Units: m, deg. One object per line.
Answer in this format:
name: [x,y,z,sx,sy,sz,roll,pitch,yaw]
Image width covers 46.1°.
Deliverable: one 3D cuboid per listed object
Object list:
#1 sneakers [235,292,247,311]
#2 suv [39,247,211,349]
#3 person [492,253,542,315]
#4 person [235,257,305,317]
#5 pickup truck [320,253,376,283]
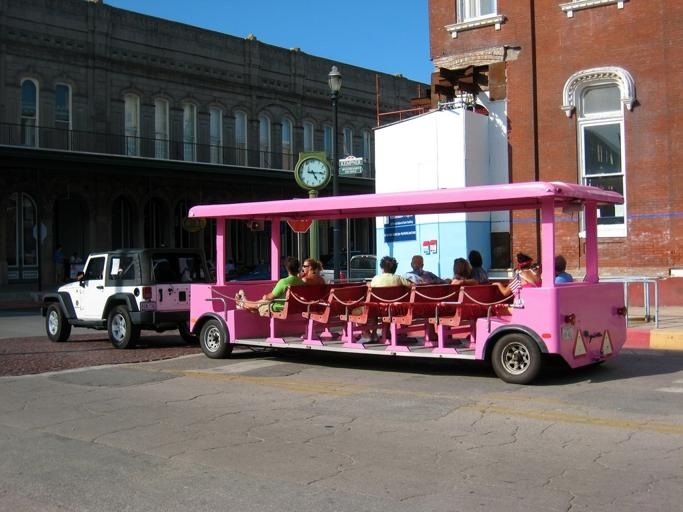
sneakers: [-1.897,0.828,14.938,0.128,0.369,0.145,3,-27,-11]
suv: [-4.795,0.852,17.867,3.224,1.685,1.885,3,1,39]
person: [2.990,0.713,13.539,0.666,1.434,0.760,1,4,-34]
person: [-1.349,0.587,14.944,1.385,1.080,0.652,-1,1,34]
pickup truck: [0.320,0.426,25.726,1.610,0.949,0.925,2,0,13]
